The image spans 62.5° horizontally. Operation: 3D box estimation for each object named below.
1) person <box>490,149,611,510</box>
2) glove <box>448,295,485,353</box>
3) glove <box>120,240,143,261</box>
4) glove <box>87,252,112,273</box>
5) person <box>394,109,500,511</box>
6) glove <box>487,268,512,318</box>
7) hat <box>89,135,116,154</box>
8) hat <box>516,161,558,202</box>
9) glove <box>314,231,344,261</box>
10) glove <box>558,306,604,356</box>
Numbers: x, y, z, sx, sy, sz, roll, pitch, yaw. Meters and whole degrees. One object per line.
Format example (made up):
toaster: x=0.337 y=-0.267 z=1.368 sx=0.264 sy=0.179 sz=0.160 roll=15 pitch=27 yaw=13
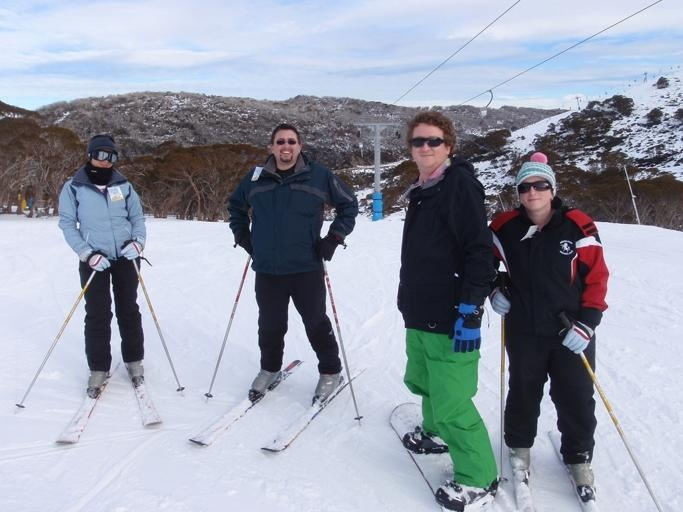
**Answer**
person: x=1.549 y=0.568 z=4.250 sx=0.879 sy=2.471 sz=0.655 roll=5 pitch=15 yaw=28
glove: x=0.898 y=0.510 z=4.031 sx=0.215 sy=0.345 sz=0.133 roll=8 pitch=-5 yaw=19
glove: x=-1.984 y=-0.045 z=5.347 sx=0.153 sy=0.217 sz=0.254 roll=3 pitch=13 yaw=21
glove: x=-2.190 y=0.059 z=5.099 sx=0.141 sy=0.191 sz=0.065 roll=-48 pitch=33 yaw=-15
person: x=0.793 y=0.369 z=4.210 sx=0.624 sy=2.851 sz=0.975 roll=-4 pitch=13 yaw=-8
glove: x=1.235 y=0.296 z=4.352 sx=0.175 sy=0.225 sz=0.328 roll=1 pitch=18 yaw=-8
hat: x=-2.269 y=-1.040 z=5.278 sx=0.241 sy=0.176 sz=0.165 roll=-4 pitch=6 yaw=-2
hat: x=1.494 y=-0.586 z=4.356 sx=0.283 sy=0.231 sz=0.275 roll=-7 pitch=9 yaw=-2
glove: x=-0.089 y=-0.098 z=5.138 sx=0.310 sy=0.246 sz=0.180 roll=-11 pitch=15 yaw=-35
glove: x=1.693 y=0.555 z=4.141 sx=0.244 sy=0.153 sz=0.320 roll=-7 pitch=54 yaw=-42
